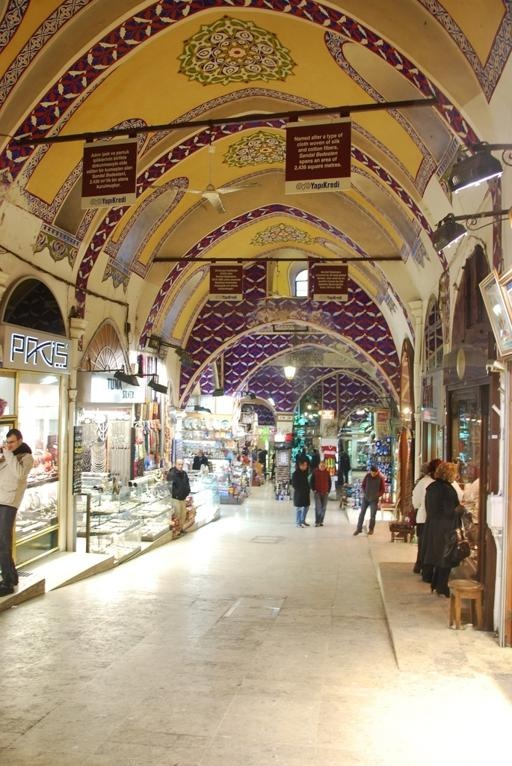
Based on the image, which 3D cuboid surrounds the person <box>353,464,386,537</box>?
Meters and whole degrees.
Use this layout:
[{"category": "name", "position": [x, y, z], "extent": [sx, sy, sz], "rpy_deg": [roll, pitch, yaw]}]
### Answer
[{"category": "person", "position": [2.234, 2.302, 10.745], "extent": [0.582, 1.429, 2.325], "rpy_deg": [-1, -5, 11]}]

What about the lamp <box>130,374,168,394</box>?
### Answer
[{"category": "lamp", "position": [-2.077, -0.018, 11.337], "extent": [0.565, 0.313, 0.357], "rpy_deg": [6, 9, 16]}]

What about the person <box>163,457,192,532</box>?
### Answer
[{"category": "person", "position": [-1.419, 2.108, 9.880], "extent": [0.359, 1.401, 0.783], "rpy_deg": [0, -5, 1]}]

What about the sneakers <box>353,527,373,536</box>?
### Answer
[{"category": "sneakers", "position": [2.081, 2.926, 10.532], "extent": [0.257, 0.104, 0.196], "rpy_deg": [-3, -19, 7]}]

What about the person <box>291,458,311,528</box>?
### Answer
[{"category": "person", "position": [0.993, 2.380, 11.832], "extent": [0.388, 1.553, 0.721], "rpy_deg": [0, -5, 7]}]

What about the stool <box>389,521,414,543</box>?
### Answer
[{"category": "stool", "position": [2.390, 2.422, 8.875], "extent": [0.302, 0.285, 0.322], "rpy_deg": [0, 0, 7]}]

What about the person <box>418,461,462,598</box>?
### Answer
[{"category": "person", "position": [1.720, 1.373, 5.028], "extent": [0.346, 1.265, 0.733], "rpy_deg": [-1, -6, 17]}]

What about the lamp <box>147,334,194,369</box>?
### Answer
[{"category": "lamp", "position": [-2.167, -0.852, 13.291], "extent": [0.286, 0.411, 1.528], "rpy_deg": [0, -19, 29]}]

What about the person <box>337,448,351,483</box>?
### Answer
[{"category": "person", "position": [3.219, 3.164, 19.982], "extent": [0.424, 1.181, 1.417], "rpy_deg": [0, -5, 8]}]

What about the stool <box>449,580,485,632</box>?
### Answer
[{"category": "stool", "position": [1.584, 1.689, 4.066], "extent": [0.226, 0.289, 0.237], "rpy_deg": [4, -13, -9]}]

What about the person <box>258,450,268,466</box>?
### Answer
[{"category": "person", "position": [0.199, 2.969, 20.750], "extent": [0.310, 0.788, 0.616], "rpy_deg": [1, -5, -4]}]
